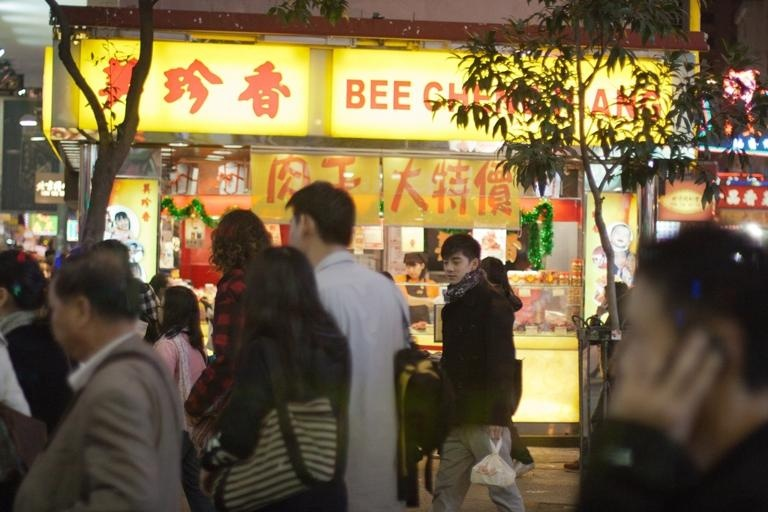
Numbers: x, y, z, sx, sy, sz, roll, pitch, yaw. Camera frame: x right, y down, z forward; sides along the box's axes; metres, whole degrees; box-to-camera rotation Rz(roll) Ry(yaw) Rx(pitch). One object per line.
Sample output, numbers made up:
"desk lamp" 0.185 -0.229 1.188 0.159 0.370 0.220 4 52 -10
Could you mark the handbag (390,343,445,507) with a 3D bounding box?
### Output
"handbag" 0.199 0.913 4.112 0.313 0.642 0.178 1 1 -11
